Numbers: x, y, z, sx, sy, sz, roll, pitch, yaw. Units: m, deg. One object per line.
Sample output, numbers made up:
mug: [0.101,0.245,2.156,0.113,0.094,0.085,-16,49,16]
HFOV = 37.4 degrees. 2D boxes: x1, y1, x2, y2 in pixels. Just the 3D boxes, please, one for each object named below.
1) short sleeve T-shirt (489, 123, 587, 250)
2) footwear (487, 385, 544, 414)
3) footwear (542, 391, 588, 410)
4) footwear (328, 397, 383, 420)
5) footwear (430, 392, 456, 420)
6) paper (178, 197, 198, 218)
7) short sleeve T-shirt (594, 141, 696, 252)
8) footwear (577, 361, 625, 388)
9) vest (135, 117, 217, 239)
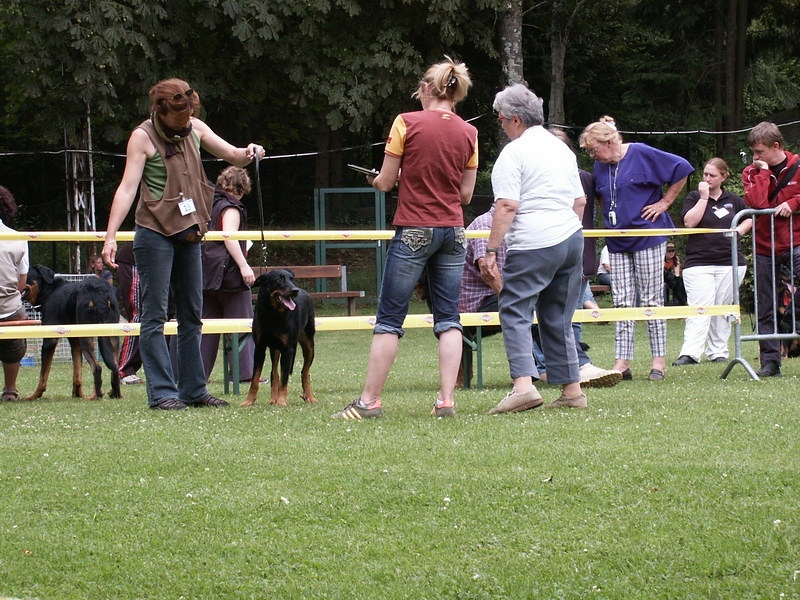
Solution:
short sleeve T-shirt: [1.089,-0.900,9.431,0.711,1.005,0.203,0,1,-14]
footwear: [0.956,0.810,9.556,0.506,0.197,0.178,-10,0,3]
footwear: [1.342,0.826,9.634,0.350,0.131,0.123,1,-5,11]
footwear: [-0.368,0.865,9.401,0.441,0.171,0.149,-1,-3,2]
footwear: [0.340,0.850,9.491,0.223,0.229,0.560,0,0,-1]
paper: [-1.766,-0.768,9.714,0.163,0.144,0.020,-11,16,-36]
short sleeve T-shirt: [2.337,-1.110,11.492,0.957,0.826,0.454,1,1,14]
footwear: [1.853,0.682,10.837,0.463,0.196,0.185,-8,0,28]
vest: [-1.876,-1.017,9.797,0.625,0.978,0.275,0,1,-13]
